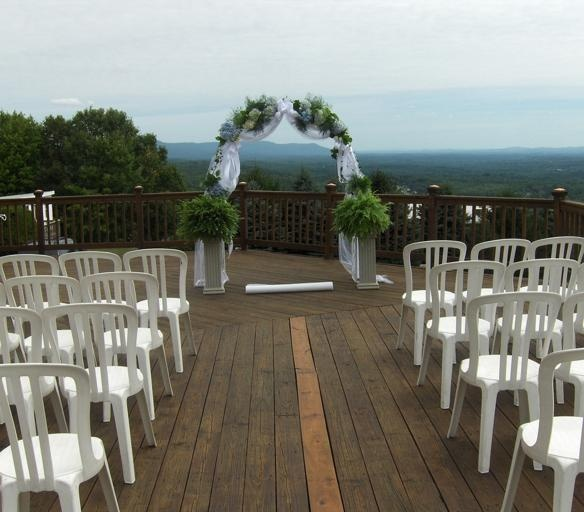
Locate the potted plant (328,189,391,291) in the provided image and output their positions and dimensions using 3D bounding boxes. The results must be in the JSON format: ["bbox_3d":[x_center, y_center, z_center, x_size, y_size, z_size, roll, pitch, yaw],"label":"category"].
[{"bbox_3d":[0.892,-0.223,5.920,0.675,1.231,0.797,-3,7,-7],"label":"potted plant"}]

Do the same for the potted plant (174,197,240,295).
[{"bbox_3d":[-0.992,-0.139,6.057,0.940,1.529,1.016,-1,6,-8],"label":"potted plant"}]
